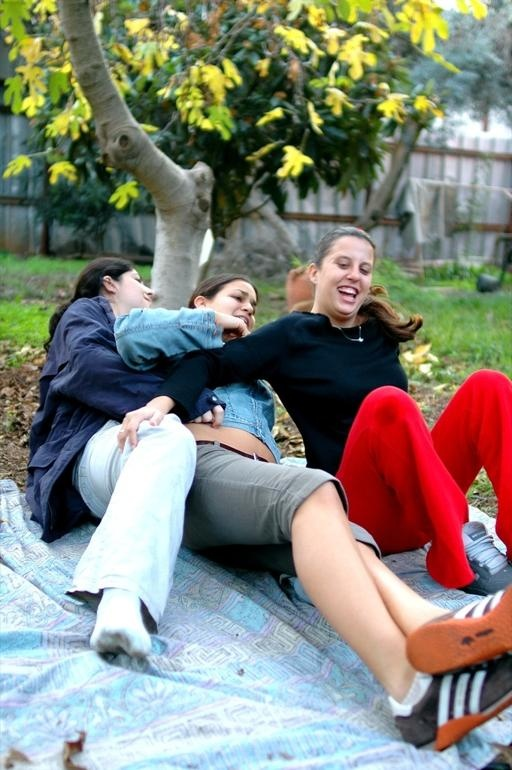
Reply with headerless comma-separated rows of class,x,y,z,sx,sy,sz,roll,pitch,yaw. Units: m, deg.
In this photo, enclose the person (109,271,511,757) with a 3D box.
person,0.067,0.248,1.949,0.707,0.829,1.530,4,8,-34
